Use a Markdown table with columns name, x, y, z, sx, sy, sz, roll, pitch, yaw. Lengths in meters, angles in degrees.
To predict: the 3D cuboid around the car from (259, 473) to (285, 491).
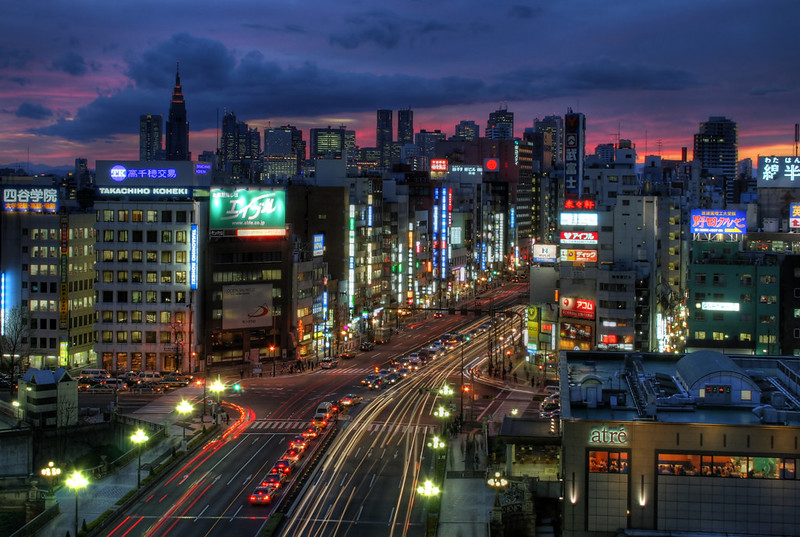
| name | x | y | z | sx | sy | sz | roll | pitch | yaw |
| --- | --- | --- | --- | --- | --- | --- | --- | --- | --- |
| car | -14.858 | 25.185 | 133.322 | 1.409 | 0.935 | 2.117 | 4 | 11 | 7 |

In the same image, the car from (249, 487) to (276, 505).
| name | x | y | z | sx | sy | sz | roll | pitch | yaw |
| --- | --- | --- | --- | --- | --- | --- | --- | --- | --- |
| car | -15.831 | 26.114 | 130.067 | 2.690 | 1.632 | 2.146 | -4 | 6 | -4 |
